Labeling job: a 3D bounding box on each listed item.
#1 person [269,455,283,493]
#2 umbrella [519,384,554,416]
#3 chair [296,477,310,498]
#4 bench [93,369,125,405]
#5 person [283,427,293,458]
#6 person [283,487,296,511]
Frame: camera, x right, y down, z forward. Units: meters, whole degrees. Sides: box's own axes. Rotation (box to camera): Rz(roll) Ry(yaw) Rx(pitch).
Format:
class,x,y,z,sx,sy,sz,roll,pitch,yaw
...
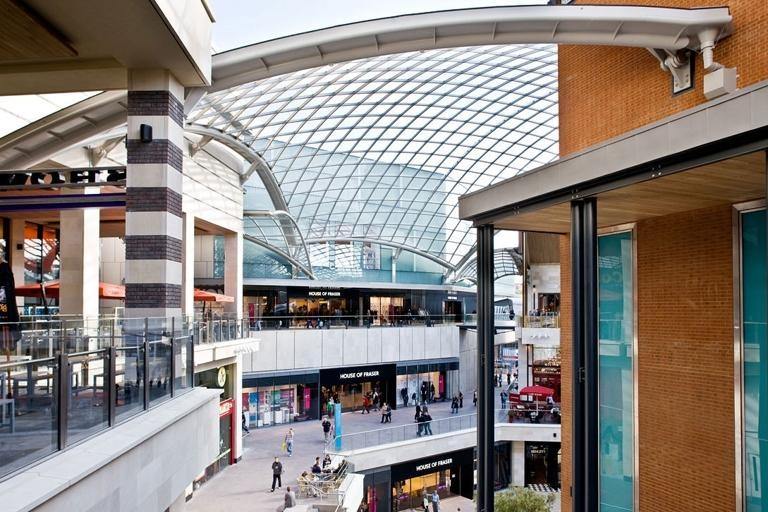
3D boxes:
class,x,y,z,sx,sy,sz,roll,pitch,yaw
person,-5.315,10.615,33.731,0.491,1.552,1.480,-1,-6,-10
umbrella,9.627,9.103,43.715,1.704,1.254,1.899,-1,1,-17
chair,-3.797,10.819,32.094,0.758,0.870,0.730,1,0,-20
bench,-6.955,3.267,17.034,0.690,0.801,0.863,0,-3,21
person,-5.450,10.544,38.984,0.477,1.404,1.475,-1,-6,-10
person,-4.228,10.680,30.516,0.527,0.858,1.325,-2,-6,-8
